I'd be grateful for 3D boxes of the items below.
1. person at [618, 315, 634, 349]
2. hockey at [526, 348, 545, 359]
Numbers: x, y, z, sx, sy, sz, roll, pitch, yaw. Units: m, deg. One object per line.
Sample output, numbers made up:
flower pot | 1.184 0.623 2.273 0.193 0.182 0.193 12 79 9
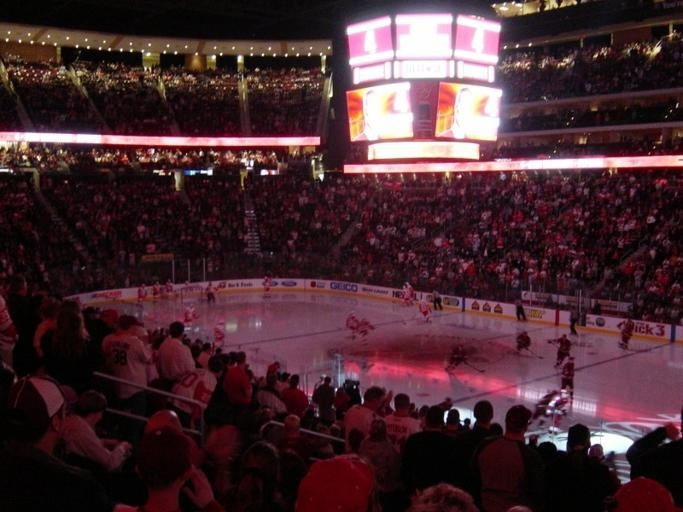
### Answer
person | 10.583 2.878 22.688 0.379 0.368 0.929 13 -25 29
hockey | 6.739 3.404 21.332 0.424 0.047 1.273 1 5 0
